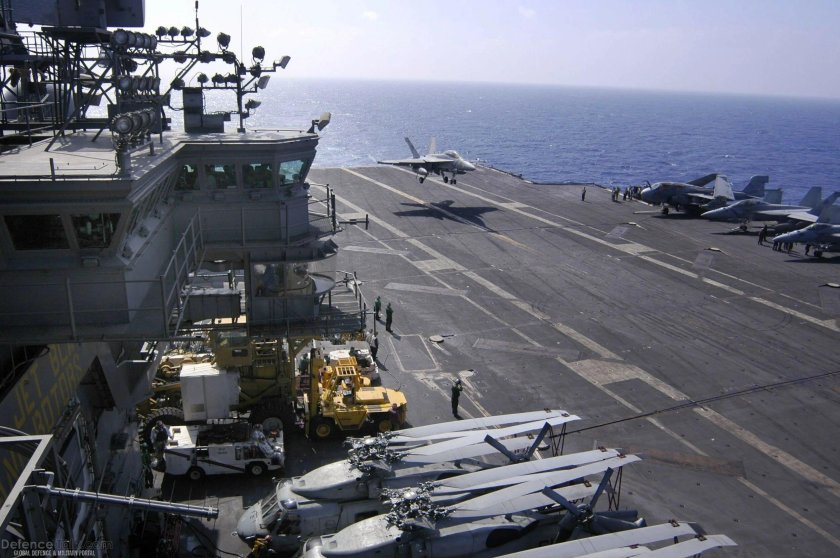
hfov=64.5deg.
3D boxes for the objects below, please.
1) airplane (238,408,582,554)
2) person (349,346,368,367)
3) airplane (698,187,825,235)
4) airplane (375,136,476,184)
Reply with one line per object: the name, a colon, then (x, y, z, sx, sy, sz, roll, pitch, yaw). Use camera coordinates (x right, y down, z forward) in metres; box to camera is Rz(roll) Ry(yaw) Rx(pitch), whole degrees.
airplane: (-0.367, 8.553, 29.860, 12.645, 2.717, 7.196, -4, 16, -11)
person: (-3.620, 4.640, 39.360, 1.167, 0.911, 1.234, -1, 11, -13)
airplane: (38.416, -7.515, 72.848, 9.784, 1.747, 7.366, 0, 18, 8)
airplane: (1.783, -15.444, 87.922, 9.292, 5.829, 13.467, 2, 17, -3)
